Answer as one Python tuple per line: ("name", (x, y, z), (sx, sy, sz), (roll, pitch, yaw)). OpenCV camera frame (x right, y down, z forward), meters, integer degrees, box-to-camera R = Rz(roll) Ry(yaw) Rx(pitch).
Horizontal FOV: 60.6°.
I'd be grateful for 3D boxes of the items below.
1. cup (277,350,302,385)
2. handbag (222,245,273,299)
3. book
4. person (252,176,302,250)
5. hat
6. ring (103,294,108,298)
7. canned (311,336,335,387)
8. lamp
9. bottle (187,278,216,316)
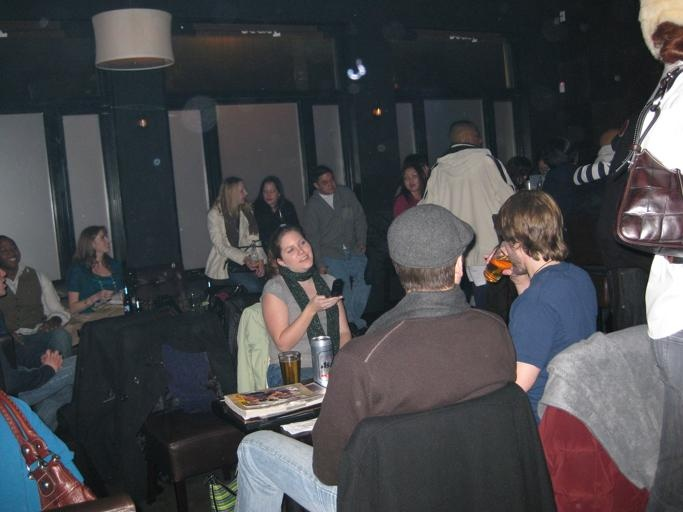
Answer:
("cup", (-0.249, 0.542, 2.820), (0.109, 0.142, 0.088), (-1, 4, -1))
("handbag", (-0.892, 0.142, 5.702), (0.517, 0.540, 0.194), (7, 3, 14))
("book", (-0.280, 0.635, 2.562), (0.281, 0.041, 0.248), (-5, 7, -35))
("person", (-0.781, -0.456, 6.685), (0.845, 0.817, 0.494), (-1, 0, -14))
("hat", (0.297, -0.106, 2.189), (0.351, 0.181, 0.369), (-5, 24, 27))
("ring", (-1.958, 0.328, 4.860), (0.030, 0.028, 0.008), (-6, 6, -26))
("canned", (-0.086, 0.502, 2.794), (0.119, 0.202, 0.104), (2, 6, 33))
("lamp", (-1.525, -1.616, 4.476), (0.550, 0.369, 0.564), (0, 8, 15))
("bottle", (-1.105, 0.318, 4.615), (0.226, 0.220, 0.394), (-2, 8, -19))
